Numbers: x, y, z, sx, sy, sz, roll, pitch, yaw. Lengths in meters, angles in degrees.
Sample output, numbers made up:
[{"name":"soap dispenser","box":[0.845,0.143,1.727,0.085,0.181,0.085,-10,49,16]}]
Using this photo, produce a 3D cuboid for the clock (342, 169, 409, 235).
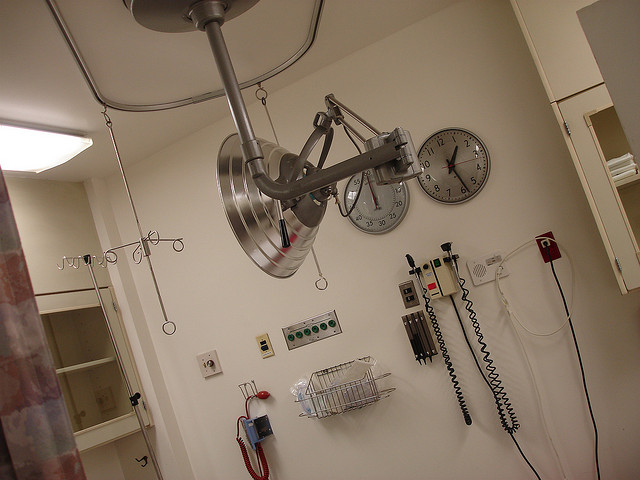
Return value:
[{"name":"clock","box":[0.333,-0.216,2.894,0.297,0.371,0.044,3,1,14]}]

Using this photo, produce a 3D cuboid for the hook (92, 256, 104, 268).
[{"name":"hook","box":[-1.394,0.126,3.212,0.067,0.085,0.026,3,10,-1]}]

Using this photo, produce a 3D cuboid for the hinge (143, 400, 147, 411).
[{"name":"hinge","box":[-1.242,1.183,3.610,0.031,0.050,0.011,6,-32,-36]}]

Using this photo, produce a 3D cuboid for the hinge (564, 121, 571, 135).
[{"name":"hinge","box":[1.296,-0.593,2.662,0.020,0.076,0.010,-13,-6,31]}]

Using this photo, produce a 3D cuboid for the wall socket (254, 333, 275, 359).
[{"name":"wall socket","box":[-0.371,0.718,3.419,0.116,0.123,0.021,-15,-6,25]}]

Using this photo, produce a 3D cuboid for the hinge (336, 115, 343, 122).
[{"name":"hinge","box":[0.068,-0.431,1.783,0.015,0.024,0.007,17,7,-11]}]

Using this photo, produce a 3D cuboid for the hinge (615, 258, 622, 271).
[{"name":"hinge","box":[1.535,0.127,2.613,0.023,0.074,0.006,-13,-6,30]}]

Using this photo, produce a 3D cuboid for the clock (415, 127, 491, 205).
[{"name":"clock","box":[0.813,-0.460,3.108,0.458,0.609,0.159,0,-1,25]}]

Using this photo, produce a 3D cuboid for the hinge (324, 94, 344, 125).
[{"name":"hinge","box":[0.047,-0.472,1.814,0.022,0.111,0.062,-22,8,6]}]

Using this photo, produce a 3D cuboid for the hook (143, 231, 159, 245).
[{"name":"hook","box":[-1.060,-0.014,3.202,0.079,0.032,0.086,-10,-2,3]}]
